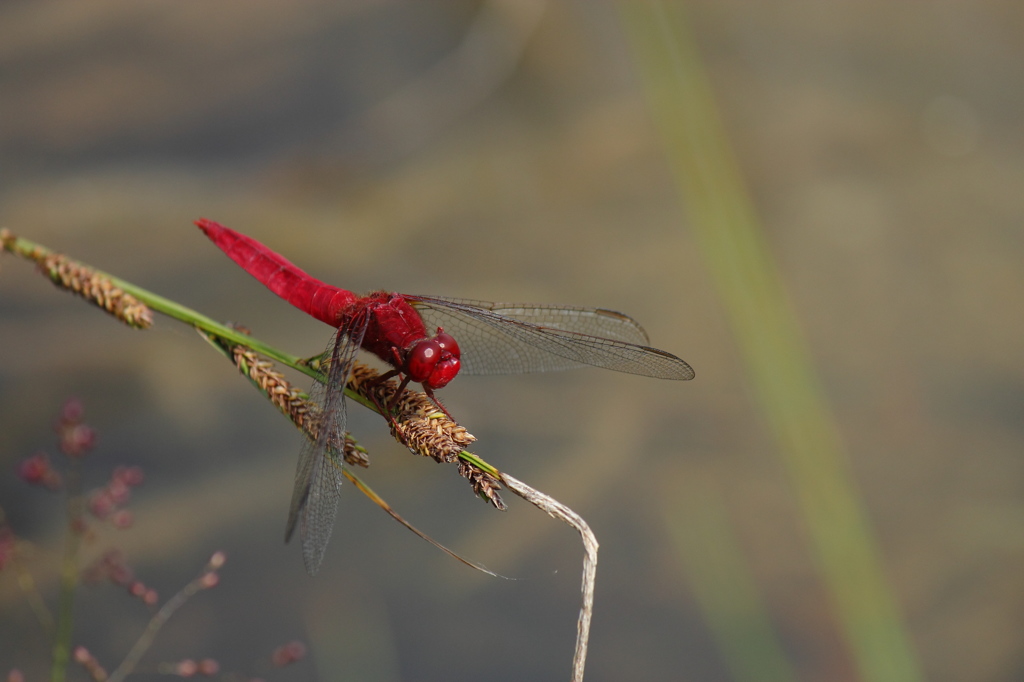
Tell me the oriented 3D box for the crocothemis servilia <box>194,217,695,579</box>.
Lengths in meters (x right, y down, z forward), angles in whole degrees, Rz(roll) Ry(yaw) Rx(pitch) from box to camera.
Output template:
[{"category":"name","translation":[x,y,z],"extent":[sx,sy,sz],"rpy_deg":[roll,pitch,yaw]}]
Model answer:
[{"category":"crocothemis servilia","translation":[-0.060,-0.012,1.067],"extent":[0.395,0.133,0.370],"rpy_deg":[-13,75,-18]}]

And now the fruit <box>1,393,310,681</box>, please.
[{"category":"fruit","translation":[-0.433,0.211,1.195],"extent":[0.206,0.129,0.314],"rpy_deg":[-9,96,-17]}]
